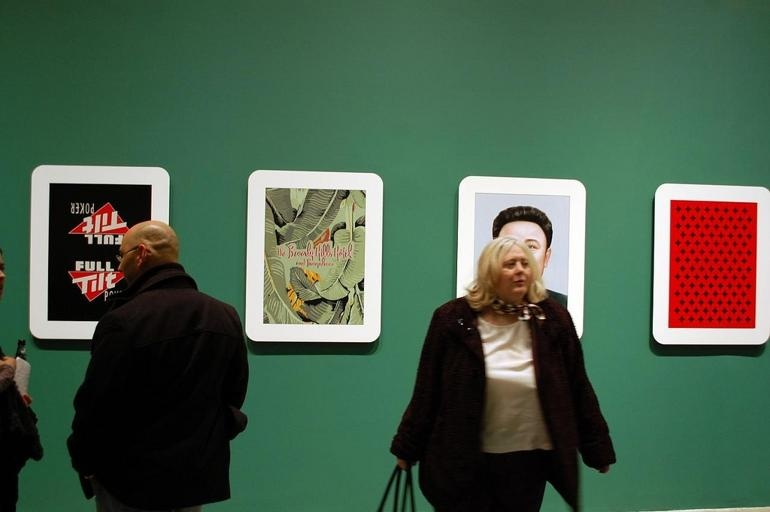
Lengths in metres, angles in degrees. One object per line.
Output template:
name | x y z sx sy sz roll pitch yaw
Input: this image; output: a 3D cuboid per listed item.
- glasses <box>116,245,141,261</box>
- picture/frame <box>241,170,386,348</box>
glasses | -1.535 -0.023 4.437 0.120 0.038 0.118 -29 6 -11
picture/frame | -0.512 0.019 5.181 1.112 1.410 0.067 1 -5 -3
